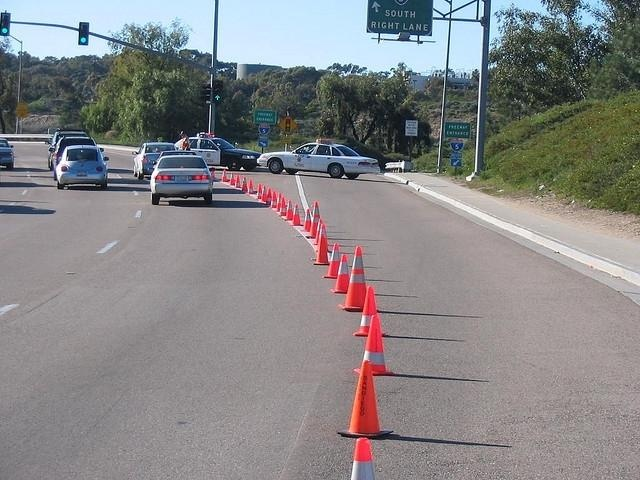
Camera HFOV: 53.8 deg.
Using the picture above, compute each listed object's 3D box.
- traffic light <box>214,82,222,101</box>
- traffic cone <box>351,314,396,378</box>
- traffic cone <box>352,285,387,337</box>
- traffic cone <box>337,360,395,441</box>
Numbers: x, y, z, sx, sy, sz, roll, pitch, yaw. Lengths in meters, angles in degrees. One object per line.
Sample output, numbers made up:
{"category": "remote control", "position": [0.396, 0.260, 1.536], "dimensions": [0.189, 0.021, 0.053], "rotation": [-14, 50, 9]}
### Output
{"category": "traffic light", "position": [-6.842, -9.951, 41.933], "dimensions": [0.468, 1.319, 1.128], "rotation": [-2, 12, -15]}
{"category": "traffic cone", "position": [0.615, 1.197, 7.039], "dimensions": [0.419, 0.676, 0.517], "rotation": [0, -18, 4]}
{"category": "traffic cone", "position": [0.655, 0.887, 8.275], "dimensions": [0.528, 0.765, 0.555], "rotation": [1, -5, -22]}
{"category": "traffic cone", "position": [0.393, 1.372, 5.500], "dimensions": [0.500, 0.693, 0.526], "rotation": [-2, -8, 42]}
